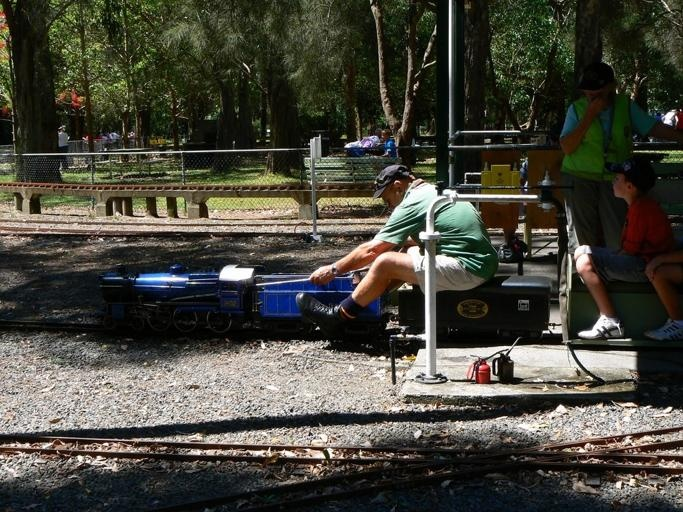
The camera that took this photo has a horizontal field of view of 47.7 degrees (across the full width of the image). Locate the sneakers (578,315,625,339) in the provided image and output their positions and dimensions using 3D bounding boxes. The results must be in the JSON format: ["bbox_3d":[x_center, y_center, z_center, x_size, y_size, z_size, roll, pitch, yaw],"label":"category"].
[{"bbox_3d":[2.322,0.647,6.941,0.384,0.212,0.191,1,8,15],"label":"sneakers"}]

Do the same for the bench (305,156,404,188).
[{"bbox_3d":[0.179,-2.318,20.955,2.701,0.936,0.764,1,-1,15],"label":"bench"}]

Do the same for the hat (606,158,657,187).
[{"bbox_3d":[2.633,-0.746,6.994,0.374,0.187,0.254,33,34,13],"label":"hat"}]

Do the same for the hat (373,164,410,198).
[{"bbox_3d":[0.465,-0.784,8.147,0.468,0.220,0.315,-23,14,20],"label":"hat"}]

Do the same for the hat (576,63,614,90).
[{"bbox_3d":[2.355,-1.637,7.113,0.287,0.268,0.214,1,8,16],"label":"hat"}]

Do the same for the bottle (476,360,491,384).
[{"bbox_3d":[1.365,1.115,7.506,0.162,0.219,0.207,0,7,9],"label":"bottle"}]
